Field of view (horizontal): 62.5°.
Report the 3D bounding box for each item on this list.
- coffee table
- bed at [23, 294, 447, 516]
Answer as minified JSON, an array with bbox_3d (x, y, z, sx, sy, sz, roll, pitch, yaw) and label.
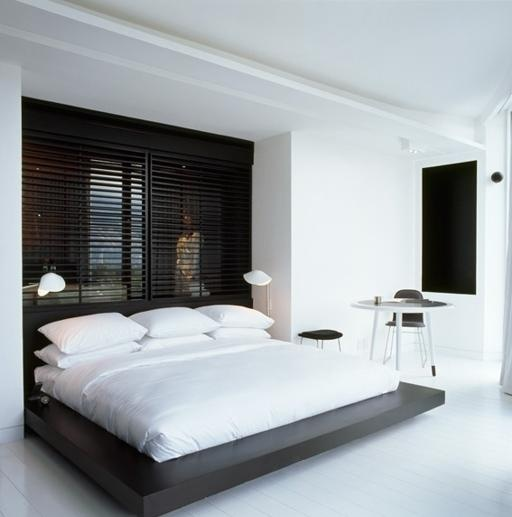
[{"bbox_3d":[1.692,0.776,4.806,1.113,1.066,1.103,1,-3,-14],"label":"coffee table"},{"bbox_3d":[-0.248,0.843,3.329,2.504,0.793,2.219,2,-3,-42],"label":"bed"}]
